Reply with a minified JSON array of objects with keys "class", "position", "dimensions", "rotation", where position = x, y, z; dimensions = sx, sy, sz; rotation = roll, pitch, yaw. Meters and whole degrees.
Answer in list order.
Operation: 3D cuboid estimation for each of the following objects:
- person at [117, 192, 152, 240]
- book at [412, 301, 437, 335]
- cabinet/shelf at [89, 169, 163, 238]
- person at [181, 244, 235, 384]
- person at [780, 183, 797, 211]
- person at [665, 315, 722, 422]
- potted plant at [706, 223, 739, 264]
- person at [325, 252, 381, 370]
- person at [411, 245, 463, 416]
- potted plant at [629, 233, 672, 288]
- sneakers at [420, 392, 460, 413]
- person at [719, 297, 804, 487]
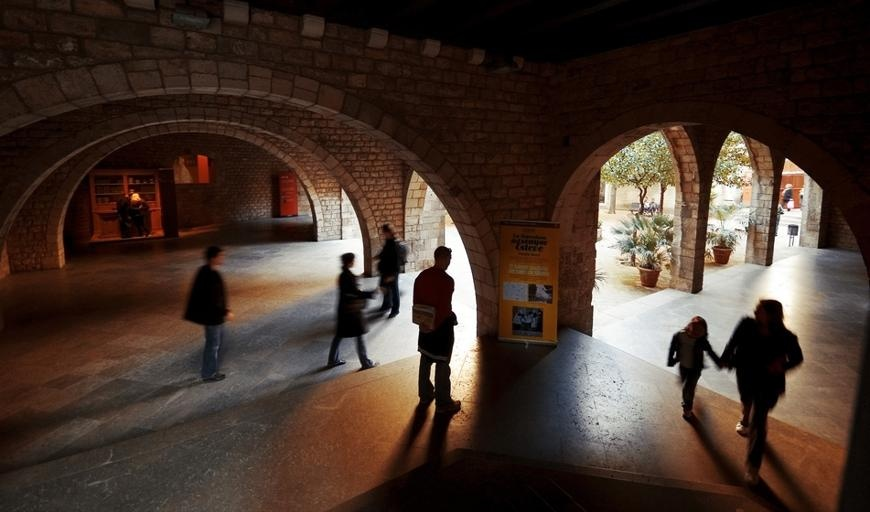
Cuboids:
[{"class":"person","position":[-10.448,-1.379,15.550],"dimensions":[0.799,1.594,1.112],"rotation":[1,7,-8]},{"class":"book","position":[-0.179,0.806,5.694],"dimensions":[0.339,0.361,0.105],"rotation":[6,8,28]},{"class":"cabinet/shelf","position":[-10.732,-1.818,15.392],"dimensions":[2.572,2.449,0.739],"rotation":[-6,9,-39]},{"class":"person","position":[-3.410,0.860,6.720],"dimensions":[0.573,2.024,0.778],"rotation":[-1,8,-26]},{"class":"person","position":[17.458,-2.908,22.291],"dimensions":[0.493,1.407,3.089],"rotation":[8,9,37]},{"class":"person","position":[3.276,1.434,5.766],"dimensions":[0.549,1.341,0.806],"rotation":[6,8,26]},{"class":"potted plant","position":[8.430,-0.293,13.271],"dimensions":[0.912,1.052,0.952],"rotation":[4,3,-5]},{"class":"person","position":[-1.328,0.857,7.073],"dimensions":[0.743,1.813,0.986],"rotation":[0,7,-13]},{"class":"person","position":[0.023,0.977,5.909],"dimensions":[0.658,2.152,0.505],"rotation":[2,7,-3]},{"class":"potted plant","position":[5.628,0.188,11.705],"dimensions":[1.119,1.224,0.898],"rotation":[1,8,-1]},{"class":"sneakers","position":[-0.003,1.980,5.975],"dimensions":[0.605,0.213,0.199],"rotation":[-3,9,-14]},{"class":"person","position":[3.689,1.501,5.171],"dimensions":[0.524,2.029,0.546],"rotation":[-1,8,-23]}]
